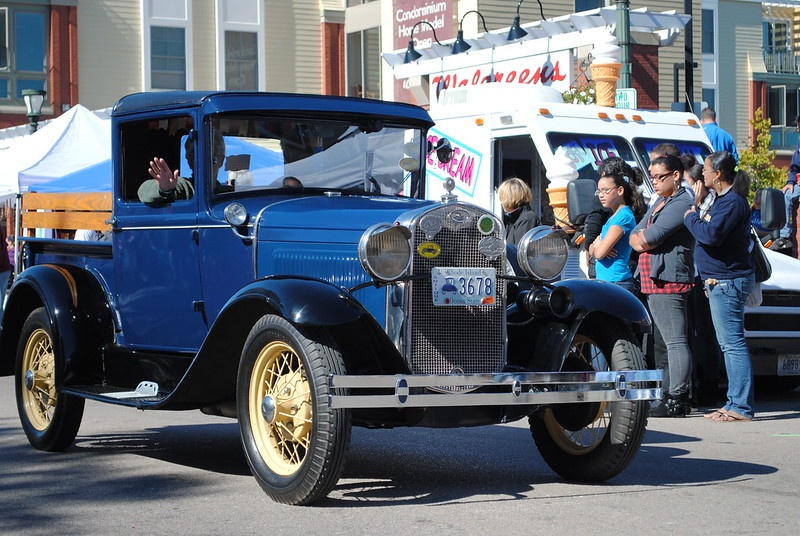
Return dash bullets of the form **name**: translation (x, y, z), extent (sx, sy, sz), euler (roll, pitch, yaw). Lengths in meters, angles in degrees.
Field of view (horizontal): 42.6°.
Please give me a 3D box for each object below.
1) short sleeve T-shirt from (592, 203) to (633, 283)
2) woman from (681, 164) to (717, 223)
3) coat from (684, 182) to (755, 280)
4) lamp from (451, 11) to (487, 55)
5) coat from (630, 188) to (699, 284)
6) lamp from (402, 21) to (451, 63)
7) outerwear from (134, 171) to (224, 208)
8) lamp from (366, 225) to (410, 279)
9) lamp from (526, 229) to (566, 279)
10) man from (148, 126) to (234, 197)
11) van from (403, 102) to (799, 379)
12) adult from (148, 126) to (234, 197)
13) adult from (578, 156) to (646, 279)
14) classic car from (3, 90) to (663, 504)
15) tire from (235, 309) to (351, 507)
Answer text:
- **short sleeve T-shirt**: translation (2.306, -0.275, 11.223), extent (0.370, 0.785, 0.762), euler (2, 5, 10)
- **woman**: translation (3.506, -0.727, 12.112), extent (0.233, 0.249, 0.746), euler (-20, -38, 11)
- **coat**: translation (3.418, -0.352, 10.872), extent (0.792, 1.160, 0.998), euler (-1, 0, 14)
- **lamp**: translation (1.335, -4.601, 20.177), extent (0.630, 1.173, 0.377), euler (5, -21, -3)
- **coat**: translation (2.939, -0.235, 11.287), extent (0.548, 0.985, 0.715), euler (-2, -17, 7)
- **lamp**: translation (0.385, -4.707, 21.619), extent (0.615, 1.207, 0.439), euler (9, -18, -1)
- **outerwear**: translation (-2.107, -0.682, 9.315), extent (0.410, 0.176, 0.437), euler (-5, 0, 15)
- **lamp**: translation (-0.112, -0.135, 8.020), extent (0.373, 0.444, 0.208), euler (-1, 1, -28)
- **lamp**: translation (1.207, -0.131, 8.696), extent (0.354, 0.444, 0.377), euler (3, 3, -21)
- **man**: translation (-2.040, -0.864, 9.319), extent (0.494, 0.741, 0.206), euler (-5, -5, 27)
- **van**: translation (2.301, -0.770, 13.701), extent (2.989, 3.363, 4.946), euler (-1, -1, -32)
- **adult**: translation (-1.977, -0.865, 9.332), extent (0.494, 0.741, 0.206), euler (-5, -5, 27)
- **adult**: translation (2.569, -0.542, 12.046), extent (0.587, 1.621, 0.417), euler (12, 36, 33)
- **classic car**: translation (-1.266, 0.106, 9.712), extent (2.979, 2.839, 5.448), euler (1, -2, -37)
- **tire**: translation (-0.817, 1.075, 7.981), extent (0.358, 1.448, 1.165), euler (-2, -9, -41)
